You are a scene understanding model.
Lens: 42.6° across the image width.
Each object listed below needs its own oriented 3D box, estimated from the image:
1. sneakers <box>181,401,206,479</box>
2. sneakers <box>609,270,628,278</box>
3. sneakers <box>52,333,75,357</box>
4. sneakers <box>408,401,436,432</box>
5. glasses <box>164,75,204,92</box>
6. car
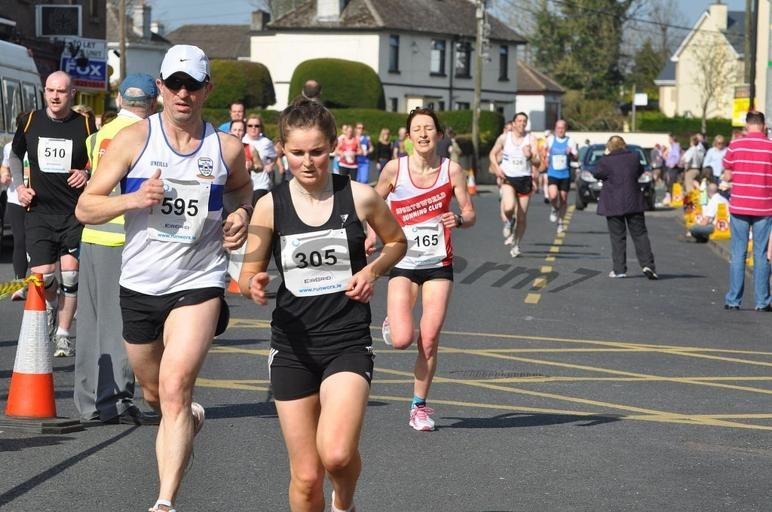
[{"bbox_3d":[-1.394,1.251,7.014,0.140,0.427,0.181,8,-10,-7],"label":"sneakers"},{"bbox_3d":[3.925,0.294,16.847,0.122,0.125,0.278,0,8,-15],"label":"sneakers"},{"bbox_3d":[-3.478,0.969,10.720,0.142,0.160,0.349,1,-4,-8],"label":"sneakers"},{"bbox_3d":[0.323,1.385,8.537,0.147,0.135,0.292,1,2,-16],"label":"sneakers"},{"bbox_3d":[-1.417,-1.216,6.951,0.270,0.115,0.067,-2,7,-12],"label":"glasses"},{"bbox_3d":[7.179,-2.578,31.307,2.366,1.994,4.186,0,1,6],"label":"car"}]
